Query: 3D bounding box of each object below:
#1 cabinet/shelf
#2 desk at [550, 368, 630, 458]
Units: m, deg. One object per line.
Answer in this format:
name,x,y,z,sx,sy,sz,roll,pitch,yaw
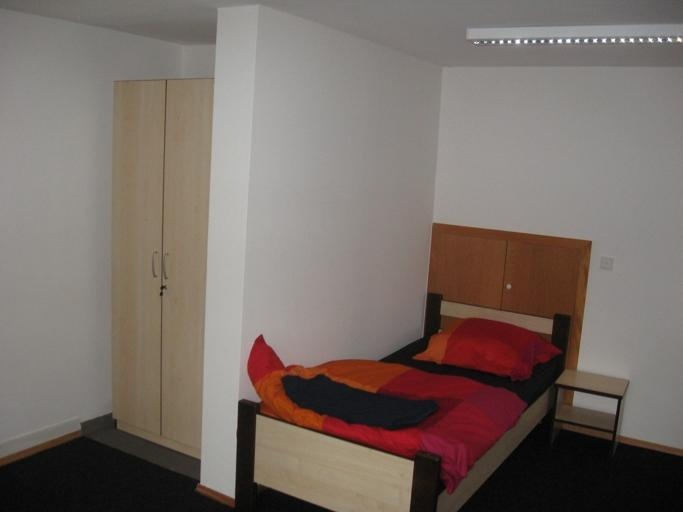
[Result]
cabinet/shelf,-1.436,0.092,4.282,1.093,2.835,0.355,10,15,26
desk,2.186,1.286,4.928,0.750,0.792,0.572,4,8,33
